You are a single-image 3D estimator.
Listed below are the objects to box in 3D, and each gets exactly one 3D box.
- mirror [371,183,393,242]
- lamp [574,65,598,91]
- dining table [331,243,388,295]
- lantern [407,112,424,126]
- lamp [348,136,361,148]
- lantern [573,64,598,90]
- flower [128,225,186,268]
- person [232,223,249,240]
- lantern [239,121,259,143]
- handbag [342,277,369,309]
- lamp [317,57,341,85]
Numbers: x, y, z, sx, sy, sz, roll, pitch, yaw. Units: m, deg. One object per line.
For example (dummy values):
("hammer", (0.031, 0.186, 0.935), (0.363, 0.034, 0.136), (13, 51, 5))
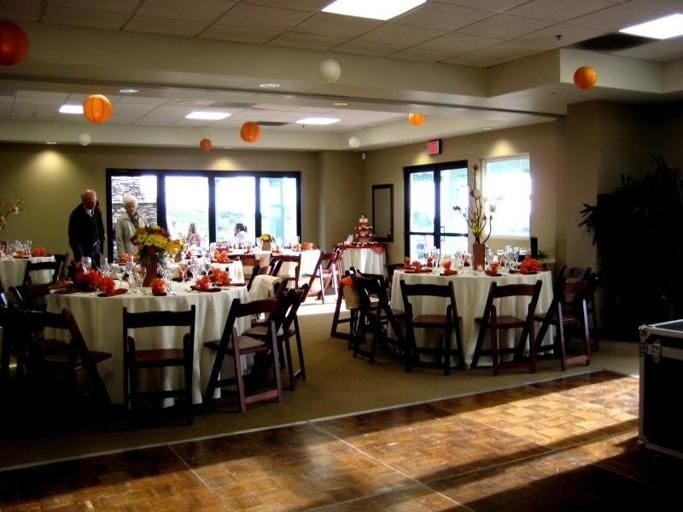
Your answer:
("mirror", (1.080, -1.168, 13.829), (0.219, 1.577, 1.008), (-3, 6, -26))
("lamp", (2.844, -2.097, 5.940), (0.206, 0.284, 0.312), (3, 6, 31))
("dining table", (0.433, 0.212, 11.566), (0.858, 0.891, 0.894), (0, -4, -4))
("lantern", (1.258, -2.358, 8.667), (0.207, 0.179, 0.377), (1, 6, 14))
("lamp", (0.298, -2.839, 12.761), (0.292, 0.294, 0.309), (6, 10, 17))
("lantern", (2.840, -2.096, 5.927), (0.203, 0.284, 0.289), (3, 7, 34))
("flower", (-1.905, -0.137, 5.279), (0.371, 0.467, 0.445), (3, 4, 11))
("person", (-2.284, -0.546, 11.463), (0.287, 0.361, 0.942), (-2, 6, -14))
("lantern", (-1.519, -2.068, 8.474), (0.265, 0.302, 0.286), (-1, 6, -2))
("handbag", (0.110, 0.452, 6.419), (0.284, 0.397, 0.140), (2, 7, 17))
("lamp", (-0.143, -2.122, 5.820), (0.220, 0.251, 0.211), (-1, 5, -2))
